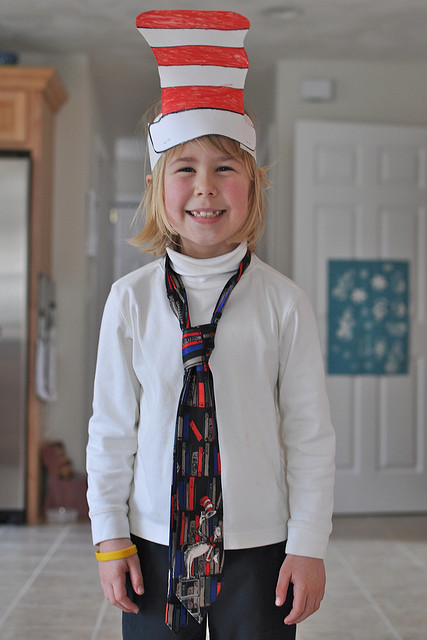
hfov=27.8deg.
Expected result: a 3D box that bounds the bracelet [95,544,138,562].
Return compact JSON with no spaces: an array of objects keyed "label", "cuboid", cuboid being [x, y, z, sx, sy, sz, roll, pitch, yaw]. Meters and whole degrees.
[{"label":"bracelet","cuboid":[-0.154,0.373,1.376,0.065,0.023,0.028,0,1,-8]}]

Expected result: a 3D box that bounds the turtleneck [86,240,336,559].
[{"label":"turtleneck","cuboid":[0.013,0.134,1.421,0.427,0.599,0.267,0,-1,15]}]

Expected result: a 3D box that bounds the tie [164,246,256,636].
[{"label":"tie","cuboid":[-0.011,0.194,1.406,0.148,0.614,0.154,0,1,1]}]
